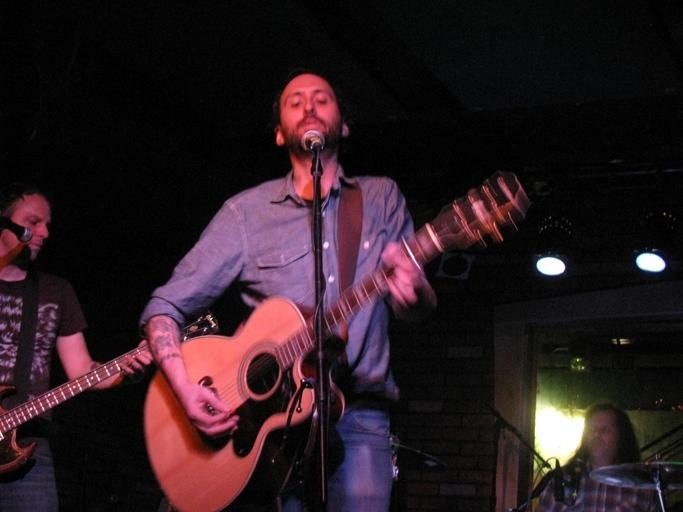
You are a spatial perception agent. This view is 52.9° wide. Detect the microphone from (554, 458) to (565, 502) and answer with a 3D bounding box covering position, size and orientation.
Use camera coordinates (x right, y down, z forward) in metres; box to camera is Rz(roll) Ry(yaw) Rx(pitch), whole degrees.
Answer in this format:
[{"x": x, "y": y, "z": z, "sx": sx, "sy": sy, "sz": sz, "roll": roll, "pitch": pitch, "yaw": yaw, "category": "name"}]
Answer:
[{"x": 2.140, "y": 2.207, "z": 6.726, "sx": 0.101, "sy": 0.380, "sz": 0.274, "roll": -1, "pitch": -18, "yaw": 18, "category": "microphone"}]
